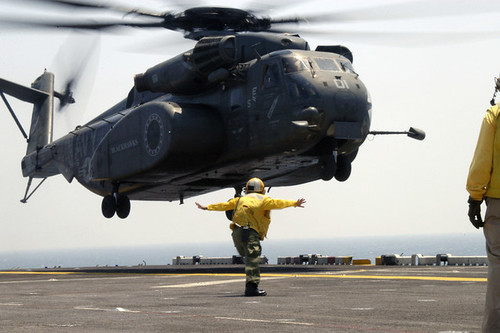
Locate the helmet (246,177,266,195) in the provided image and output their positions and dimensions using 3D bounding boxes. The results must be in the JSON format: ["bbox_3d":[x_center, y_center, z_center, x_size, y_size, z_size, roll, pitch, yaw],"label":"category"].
[{"bbox_3d":[0.167,0.485,21.736,0.396,0.391,0.484,4,7,1],"label":"helmet"}]

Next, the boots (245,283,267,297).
[{"bbox_3d":[0.052,3.247,21.423,0.710,0.429,0.257,-4,1,-13],"label":"boots"}]
